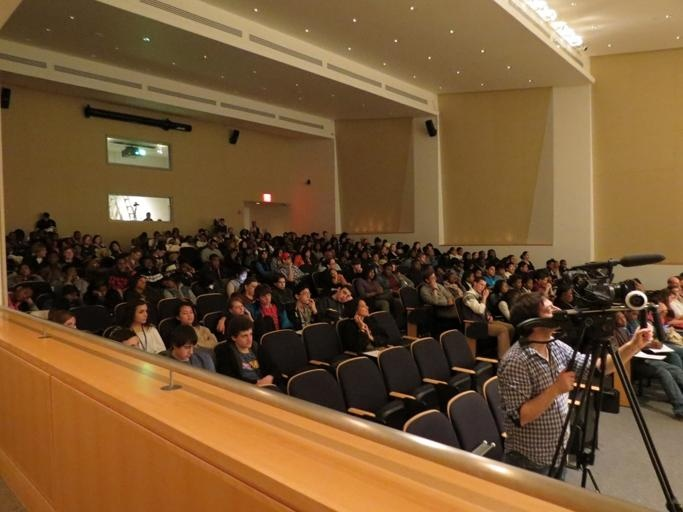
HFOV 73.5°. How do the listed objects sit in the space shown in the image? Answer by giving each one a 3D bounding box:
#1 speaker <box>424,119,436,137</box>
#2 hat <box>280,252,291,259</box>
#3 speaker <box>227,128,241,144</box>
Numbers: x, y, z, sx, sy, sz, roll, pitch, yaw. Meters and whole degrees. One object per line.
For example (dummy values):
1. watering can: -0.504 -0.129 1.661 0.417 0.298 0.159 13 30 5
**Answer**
1. speaker: 2.846 -4.068 14.533 0.368 0.513 0.354 2 0 10
2. hat: -1.105 -0.016 9.013 0.129 0.086 0.181 -15 7 -17
3. speaker: -3.353 -3.667 14.164 0.393 0.421 0.442 0 7 14
